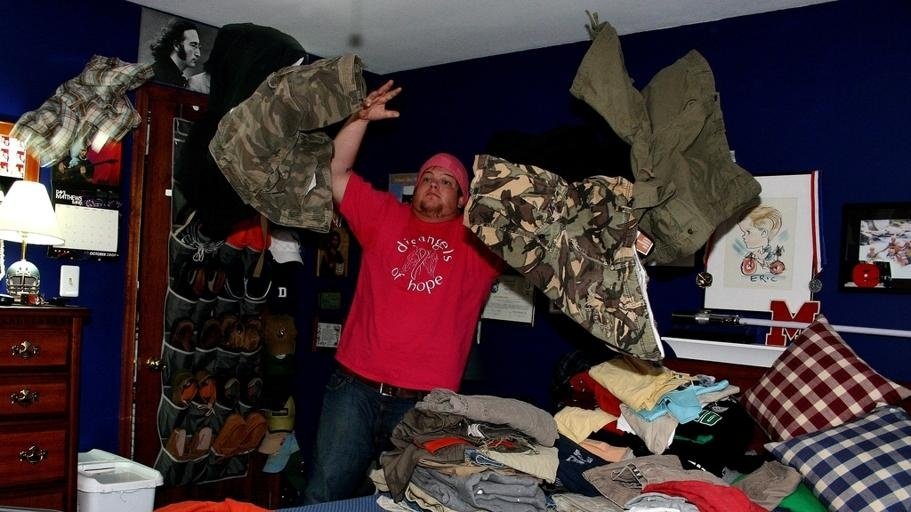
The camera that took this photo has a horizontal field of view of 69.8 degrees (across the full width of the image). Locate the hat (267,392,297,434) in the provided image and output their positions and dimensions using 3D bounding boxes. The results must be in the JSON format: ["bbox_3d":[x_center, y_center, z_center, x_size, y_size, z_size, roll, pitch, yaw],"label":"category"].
[{"bbox_3d":[-1.339,1.239,5.050,0.217,0.262,0.268,0,-5,7],"label":"hat"}]

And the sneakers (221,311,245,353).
[{"bbox_3d":[-1.651,0.563,4.838,0.174,0.236,0.059,5,-2,-41],"label":"sneakers"}]

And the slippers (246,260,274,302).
[{"bbox_3d":[-1.464,0.180,4.933,0.092,0.304,0.202,5,0,38],"label":"slippers"}]

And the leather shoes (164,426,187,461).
[{"bbox_3d":[-1.981,1.342,4.661,0.134,0.214,0.056,9,-3,-40],"label":"leather shoes"}]

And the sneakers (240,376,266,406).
[{"bbox_3d":[-1.536,1.042,4.971,0.206,0.201,0.153,-37,-32,28],"label":"sneakers"}]

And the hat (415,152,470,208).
[{"bbox_3d":[-0.056,-0.505,4.225,0.284,0.287,0.373,12,-42,16],"label":"hat"}]

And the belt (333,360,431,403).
[{"bbox_3d":[-0.478,0.783,3.910,0.369,0.094,0.273,19,-9,3],"label":"belt"}]

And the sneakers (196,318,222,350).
[{"bbox_3d":[-1.782,0.569,4.756,0.156,0.215,0.084,28,-10,-12],"label":"sneakers"}]

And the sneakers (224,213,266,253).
[{"bbox_3d":[-1.505,-0.165,4.754,0.311,0.253,0.151,5,0,-19],"label":"sneakers"}]

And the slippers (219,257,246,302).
[{"bbox_3d":[-1.638,0.160,4.814,0.123,0.333,0.135,-5,12,-32],"label":"slippers"}]

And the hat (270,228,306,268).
[{"bbox_3d":[-1.276,-0.064,4.931,0.197,0.151,0.317,26,8,-45],"label":"hat"}]

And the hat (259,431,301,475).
[{"bbox_3d":[-1.342,1.541,5.080,0.246,0.306,0.141,20,-13,-9],"label":"hat"}]

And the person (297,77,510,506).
[{"bbox_3d":[-0.304,0.250,3.946,0.997,2.473,0.458,5,0,-11],"label":"person"}]
